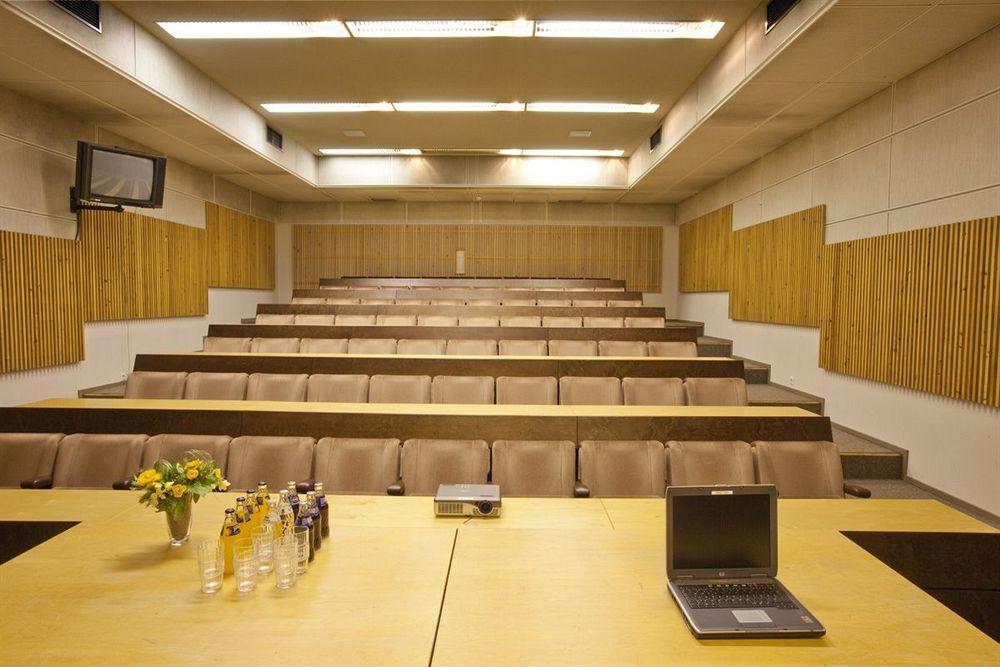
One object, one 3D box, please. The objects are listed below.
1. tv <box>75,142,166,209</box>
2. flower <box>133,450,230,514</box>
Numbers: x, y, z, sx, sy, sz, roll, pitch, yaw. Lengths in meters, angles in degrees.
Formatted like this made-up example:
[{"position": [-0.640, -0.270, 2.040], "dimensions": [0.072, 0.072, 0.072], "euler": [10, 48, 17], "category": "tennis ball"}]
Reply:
[{"position": [-5.248, -2.165, 8.750], "dimensions": [1.127, 0.757, 0.570], "euler": [8, 7, -3], "category": "tv"}, {"position": [-2.157, 0.968, 4.234], "dimensions": [0.570, 0.302, 0.541], "euler": [0, 1, -8], "category": "flower"}]
